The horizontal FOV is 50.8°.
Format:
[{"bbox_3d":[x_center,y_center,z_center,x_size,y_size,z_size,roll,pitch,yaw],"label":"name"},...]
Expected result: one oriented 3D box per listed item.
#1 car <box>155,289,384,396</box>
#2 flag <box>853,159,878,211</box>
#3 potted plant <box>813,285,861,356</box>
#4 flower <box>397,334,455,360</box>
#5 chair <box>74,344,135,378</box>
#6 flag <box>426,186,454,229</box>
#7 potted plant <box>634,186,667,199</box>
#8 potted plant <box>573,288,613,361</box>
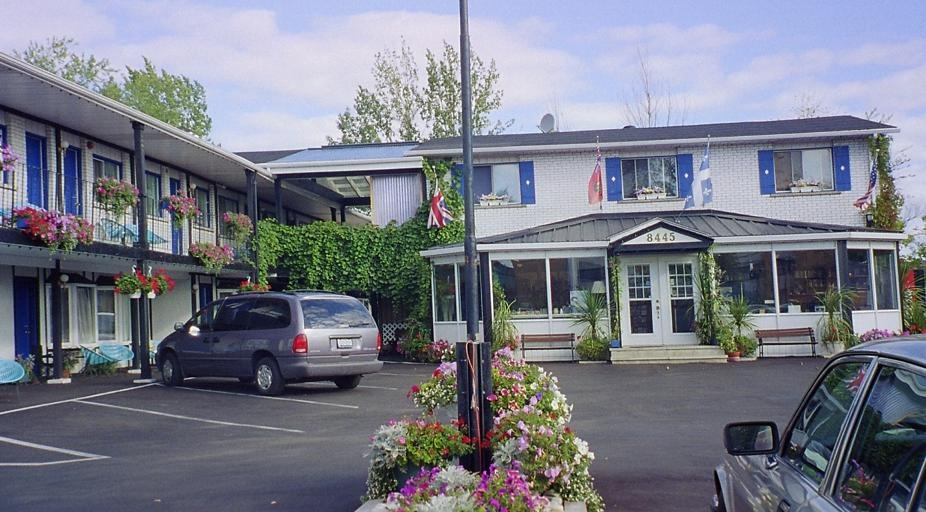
[{"bbox_3d":[-6.106,2.805,31.614,8.136,3.071,3.085,-1,-2,36],"label":"car"},{"bbox_3d":[16.630,-2.834,40.203,0.911,1.836,1.345,-5,-5,23],"label":"flag"},{"bbox_3d":[14.453,2.445,37.380,1.626,2.579,1.490,-4,0,31],"label":"potted plant"},{"bbox_3d":[-1.599,3.719,39.445,2.070,0.680,1.702,-2,-4,41],"label":"flower"},{"bbox_3d":[-13.126,3.802,36.518,1.400,0.699,1.451,10,15,9],"label":"chair"},{"bbox_3d":[-0.986,-2.073,40.050,1.234,2.070,0.346,-12,-25,11],"label":"flag"},{"bbox_3d":[7.964,-2.651,41.340,0.968,0.386,0.601,1,-4,-1],"label":"potted plant"},{"bbox_3d":[4.993,2.642,37.678,1.305,2.772,0.626,-3,-4,5],"label":"potted plant"}]
